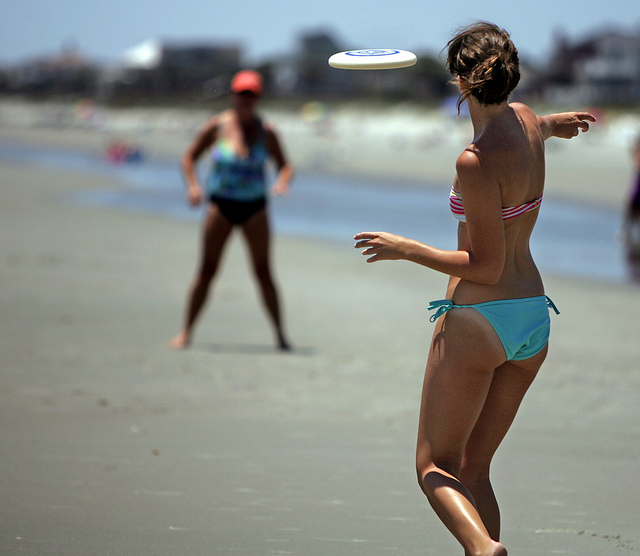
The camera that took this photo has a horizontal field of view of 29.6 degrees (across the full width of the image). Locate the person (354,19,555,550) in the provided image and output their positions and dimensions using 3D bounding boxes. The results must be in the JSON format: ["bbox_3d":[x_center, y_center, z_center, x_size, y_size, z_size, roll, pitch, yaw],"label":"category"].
[{"bbox_3d":[0.682,0.053,5.191,0.685,2.230,0.764,14,18,34],"label":"person"}]

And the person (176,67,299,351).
[{"bbox_3d":[-0.511,-0.421,7.726,0.770,1.765,0.463,1,15,-7],"label":"person"}]

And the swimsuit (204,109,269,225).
[{"bbox_3d":[-0.526,-0.707,7.589,0.362,0.690,0.333,3,15,-3],"label":"swimsuit"}]

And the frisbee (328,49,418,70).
[{"bbox_3d":[0.233,-1.018,5.563,0.371,0.110,0.285,14,18,37],"label":"frisbee"}]

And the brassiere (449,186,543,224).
[{"bbox_3d":[0.724,-0.306,5.206,0.269,0.105,0.203,-3,7,18],"label":"brassiere"}]
